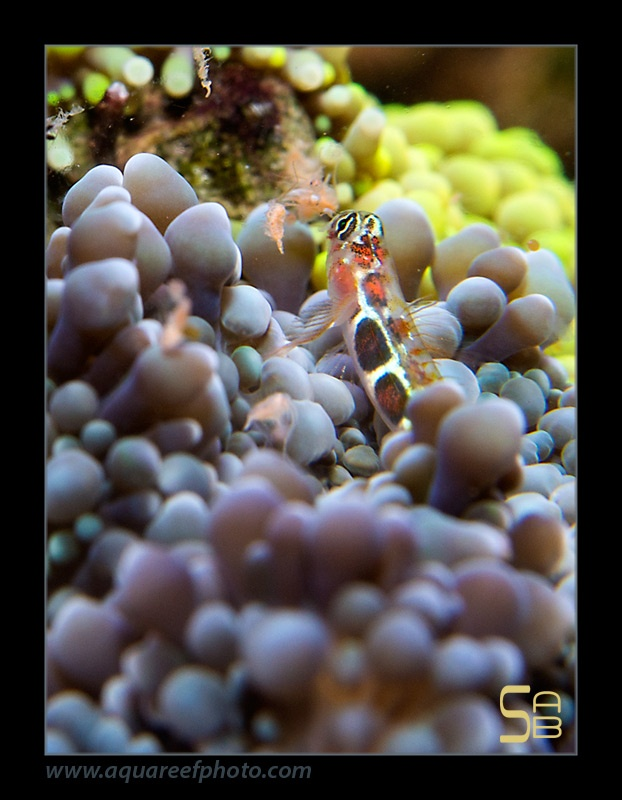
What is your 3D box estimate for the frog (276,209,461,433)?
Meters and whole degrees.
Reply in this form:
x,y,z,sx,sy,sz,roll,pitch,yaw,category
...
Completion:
x,y,z,sx,sy,sz,roll,pitch,yaw,category
0.110,-0.147,1.894,0.262,0.294,0.468,6,24,-1,frog
